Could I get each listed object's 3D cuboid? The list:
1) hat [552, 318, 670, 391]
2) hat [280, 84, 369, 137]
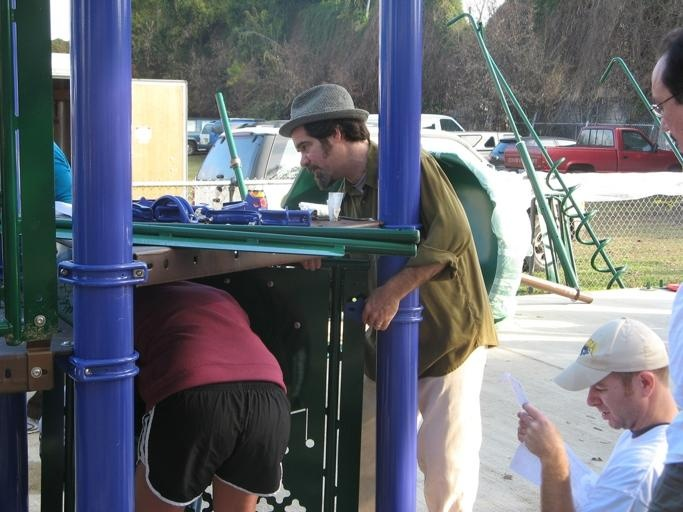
[{"bbox_3d":[1.090,0.412,3.804,0.450,0.319,0.315,-4,-7,6],"label":"hat"},{"bbox_3d":[-0.083,-0.701,4.407,0.430,0.204,0.439,-8,-1,-10],"label":"hat"}]
